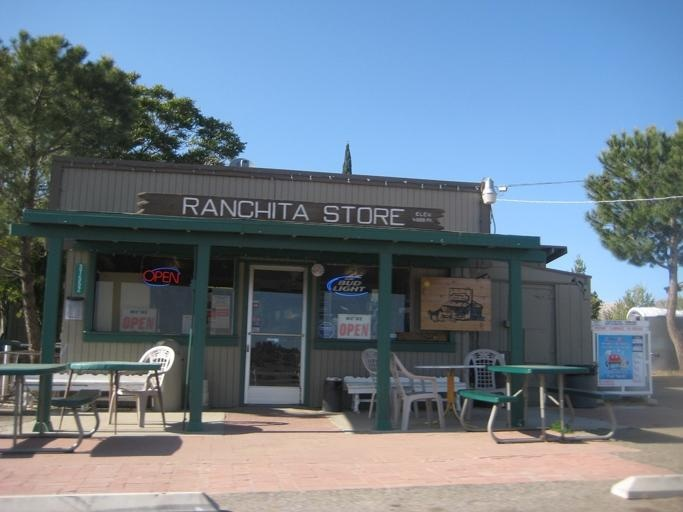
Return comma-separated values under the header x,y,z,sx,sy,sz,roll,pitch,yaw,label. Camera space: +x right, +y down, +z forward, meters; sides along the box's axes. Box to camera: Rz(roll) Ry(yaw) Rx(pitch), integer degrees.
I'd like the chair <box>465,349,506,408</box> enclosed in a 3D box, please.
x,y,z,sx,sy,sz,roll,pitch,yaw,label
2.748,2.209,12.787,0.895,1.153,0.847,-1,-8,11,chair

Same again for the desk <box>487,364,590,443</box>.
x,y,z,sx,sy,sz,roll,pitch,yaw,label
3.098,2.231,10.410,1.219,1.123,0.993,2,-1,-17,desk

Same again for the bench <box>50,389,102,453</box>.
x,y,z,sx,sy,sz,roll,pitch,yaw,label
-3.916,2.479,9.636,0.722,1.038,1.231,2,-13,-11,bench

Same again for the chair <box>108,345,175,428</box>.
x,y,z,sx,sy,sz,roll,pitch,yaw,label
-3.242,2.095,10.861,0.838,1.180,0.929,-5,-7,29,chair

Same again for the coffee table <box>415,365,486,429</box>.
x,y,z,sx,sy,sz,roll,pitch,yaw,label
2.034,2.535,12.271,1.148,0.945,1.168,6,-14,-33,coffee table

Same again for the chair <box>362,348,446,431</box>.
x,y,z,sx,sy,sz,roll,pitch,yaw,label
1.296,2.315,11.790,1.584,1.841,1.203,-1,-8,-7,chair

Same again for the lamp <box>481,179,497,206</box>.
x,y,z,sx,sy,sz,roll,pitch,yaw,label
2.999,-1.323,13.509,0.281,0.554,0.630,1,-1,10,lamp
